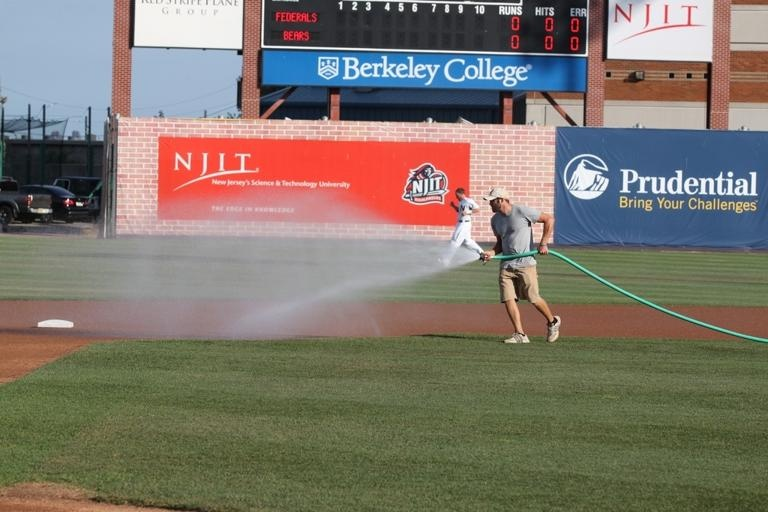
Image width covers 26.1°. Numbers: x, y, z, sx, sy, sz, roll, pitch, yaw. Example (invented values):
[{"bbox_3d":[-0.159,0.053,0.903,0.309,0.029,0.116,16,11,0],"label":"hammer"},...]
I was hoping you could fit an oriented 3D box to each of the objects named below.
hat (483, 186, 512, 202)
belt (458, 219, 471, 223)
[{"bbox_3d":[2.930,-1.608,42.726,0.762,0.372,0.482,2,2,0],"label":"hat"},{"bbox_3d":[2.447,-1.057,50.747,0.331,0.099,0.208,2,5,10],"label":"belt"}]
